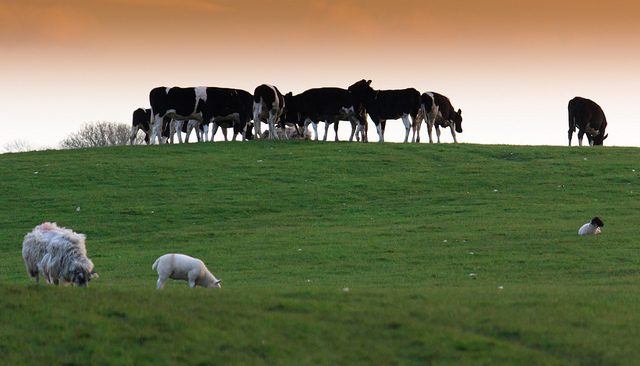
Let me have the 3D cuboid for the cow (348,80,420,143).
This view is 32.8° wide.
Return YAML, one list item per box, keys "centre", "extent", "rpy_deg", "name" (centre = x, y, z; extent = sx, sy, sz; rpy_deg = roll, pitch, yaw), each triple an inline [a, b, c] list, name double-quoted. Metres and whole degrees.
- centre: [5.767, -6.193, 92.646]
  extent: [5.445, 5.072, 1.765]
  rpy_deg: [0, 1, 5]
  name: "cow"

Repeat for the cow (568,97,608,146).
- centre: [23.387, -5.061, 96.571]
  extent: [1.966, 3.856, 7.941]
  rpy_deg: [-10, -15, 19]
  name: "cow"

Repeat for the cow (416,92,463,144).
- centre: [10.676, -5.542, 95.890]
  extent: [2.329, 4.289, 8.821]
  rpy_deg: [-5, -6, 29]
  name: "cow"
